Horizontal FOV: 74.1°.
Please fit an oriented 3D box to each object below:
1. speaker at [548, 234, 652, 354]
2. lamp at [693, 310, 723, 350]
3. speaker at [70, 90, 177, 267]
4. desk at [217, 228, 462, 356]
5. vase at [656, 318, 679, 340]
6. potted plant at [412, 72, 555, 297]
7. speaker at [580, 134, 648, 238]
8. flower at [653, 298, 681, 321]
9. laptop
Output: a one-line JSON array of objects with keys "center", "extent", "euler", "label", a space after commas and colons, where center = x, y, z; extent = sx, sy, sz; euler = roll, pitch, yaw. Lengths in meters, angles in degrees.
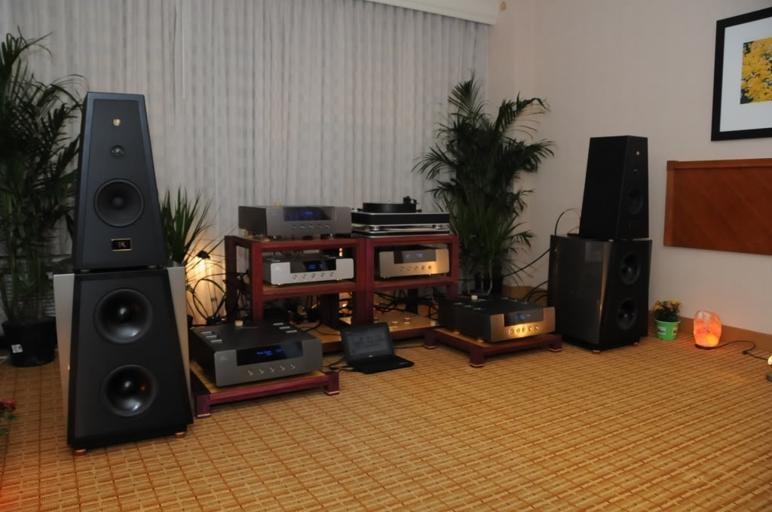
[{"center": [1.526, 0.248, 3.709], "extent": [0.456, 0.733, 0.578], "euler": [-1, 5, -26], "label": "speaker"}, {"center": [2.206, 0.512, 3.545], "extent": [0.182, 0.241, 0.183], "euler": [1, -3, -12], "label": "lamp"}, {"center": [-1.233, -0.337, 2.307], "extent": [0.369, 0.778, 0.123], "euler": [-6, 12, -18], "label": "speaker"}, {"center": [-0.284, 0.219, 3.676], "extent": [1.658, 0.834, 0.770], "euler": [-6, 12, -19], "label": "desk"}, {"center": [2.024, 0.534, 3.724], "extent": [0.142, 0.107, 0.145], "euler": [-1, 2, -17], "label": "vase"}, {"center": [0.825, -0.674, 4.509], "extent": [1.092, 1.884, 0.862], "euler": [-12, 15, -39], "label": "potted plant"}, {"center": [1.552, -0.458, 3.479], "extent": [0.428, 0.693, 0.276], "euler": [2, 13, 23], "label": "speaker"}, {"center": [2.014, 0.384, 3.722], "extent": [0.156, 0.147, 0.150], "euler": [-1, 3, -14], "label": "flower"}, {"center": [-0.050, 0.570, 3.175], "extent": [0.370, 0.213, 0.332], "euler": [-1, 6, -33], "label": "laptop"}]
